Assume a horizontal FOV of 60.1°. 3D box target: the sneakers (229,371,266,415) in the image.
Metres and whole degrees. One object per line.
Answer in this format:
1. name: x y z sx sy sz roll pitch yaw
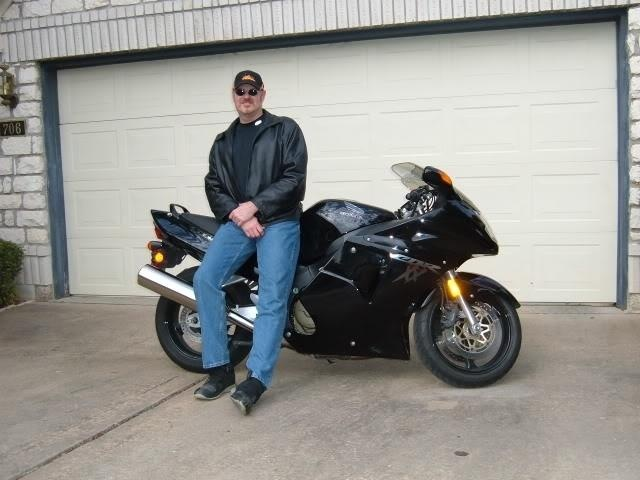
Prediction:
1. sneakers: -0.447 0.915 3.387 0.158 0.167 0.416 17 -4 13

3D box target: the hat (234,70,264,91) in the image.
1. hat: -0.455 -1.058 3.654 0.144 0.091 0.181 3 -8 6

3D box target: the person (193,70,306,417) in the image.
1. person: -0.450 -0.055 3.617 0.847 2.185 0.800 -4 -9 27
